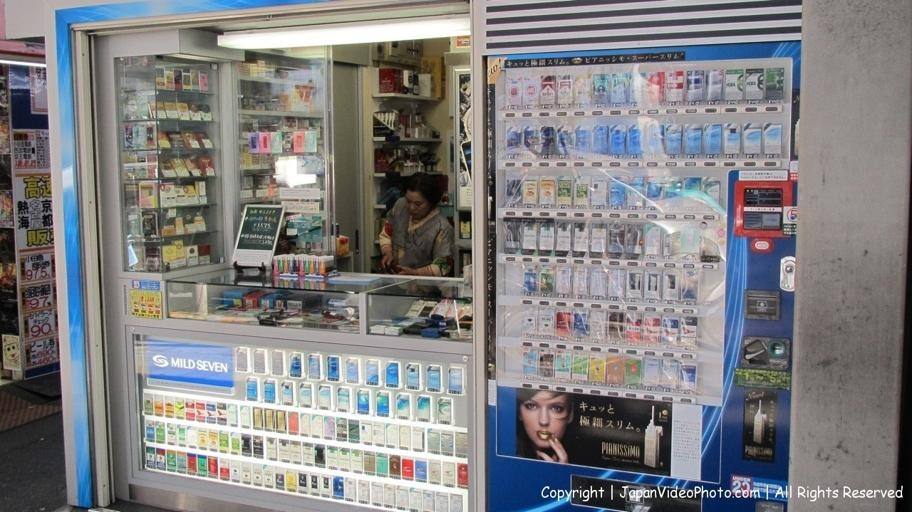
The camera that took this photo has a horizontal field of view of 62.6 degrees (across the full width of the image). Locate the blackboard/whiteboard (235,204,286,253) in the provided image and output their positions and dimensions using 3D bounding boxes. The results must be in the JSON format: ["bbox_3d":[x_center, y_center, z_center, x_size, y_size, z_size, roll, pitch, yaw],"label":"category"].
[{"bbox_3d":[-1.768,-0.245,6.811,0.471,0.486,0.074,3,-14,17],"label":"blackboard/whiteboard"}]
